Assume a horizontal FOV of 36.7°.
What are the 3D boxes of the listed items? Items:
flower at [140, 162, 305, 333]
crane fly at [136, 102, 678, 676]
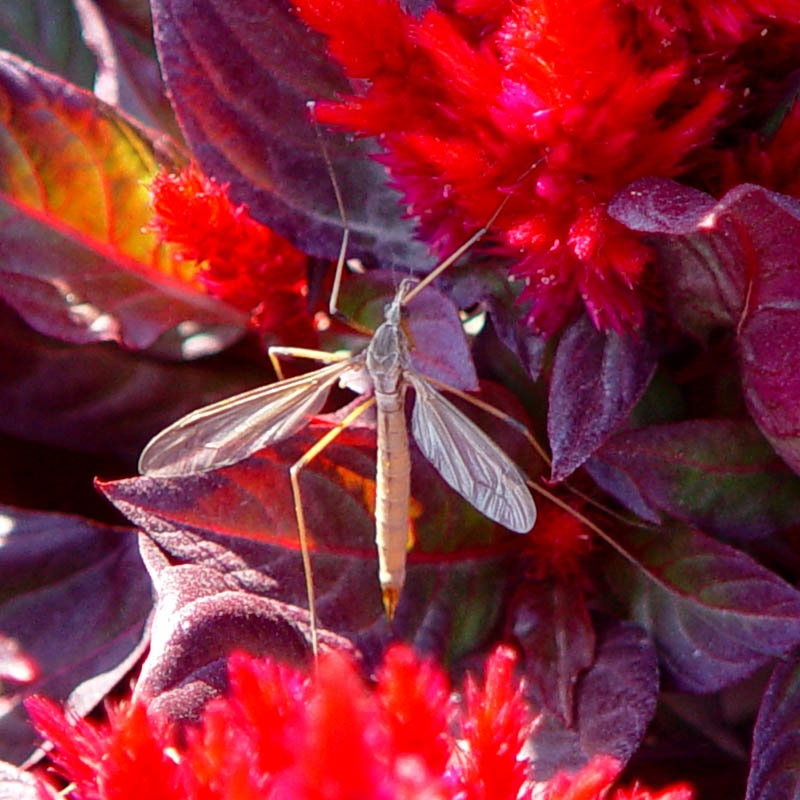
[{"bbox_3d":[-0.092,-0.078,0.715,0.128,0.048,0.051,31,37,-49],"label":"flower"},{"bbox_3d":[-0.010,-0.036,0.749,0.260,0.321,0.084,5,15,10],"label":"crane fly"}]
